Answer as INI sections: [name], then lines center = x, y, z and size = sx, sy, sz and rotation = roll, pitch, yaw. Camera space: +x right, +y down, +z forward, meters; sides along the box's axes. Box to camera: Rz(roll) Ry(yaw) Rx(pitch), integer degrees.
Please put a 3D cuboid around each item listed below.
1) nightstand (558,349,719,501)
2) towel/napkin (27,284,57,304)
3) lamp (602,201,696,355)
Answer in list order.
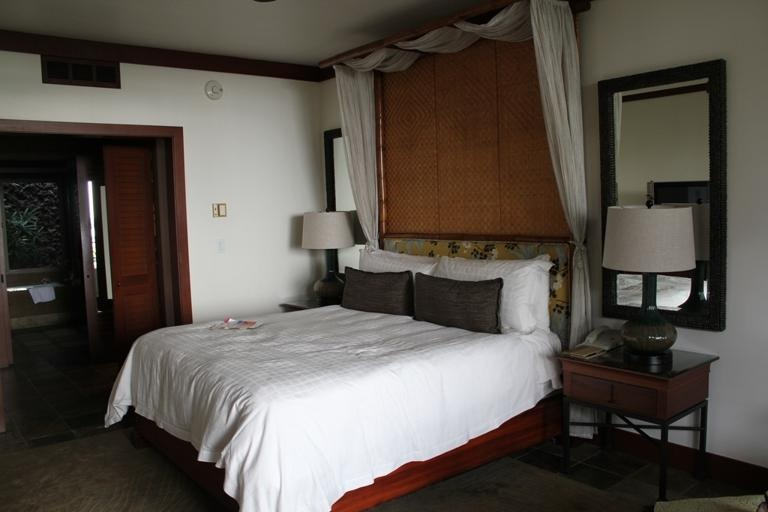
[nightstand]
center = 1.997, 1.275, 4.206
size = 0.772, 0.912, 0.920
rotation = -2, 2, -35
[towel/napkin]
center = -6.079, 0.655, 9.287
size = 0.335, 0.337, 0.122
rotation = -8, -3, -29
[lamp]
center = 1.994, 0.177, 3.951
size = 0.588, 1.105, 0.368
rotation = -3, 11, -6
